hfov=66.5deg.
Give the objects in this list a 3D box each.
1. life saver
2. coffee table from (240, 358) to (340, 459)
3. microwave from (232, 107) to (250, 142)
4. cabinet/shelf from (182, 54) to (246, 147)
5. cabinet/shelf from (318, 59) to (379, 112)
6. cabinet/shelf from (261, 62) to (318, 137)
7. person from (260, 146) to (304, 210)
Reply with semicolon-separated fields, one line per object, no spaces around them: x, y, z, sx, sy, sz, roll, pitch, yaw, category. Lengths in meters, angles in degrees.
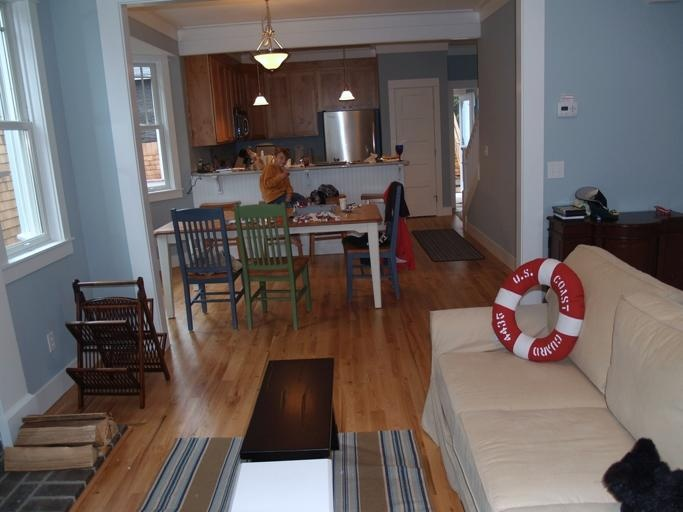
1.091;0.305;2.896;0.139;0.549;0.478;17;-8;-41;life saver
-0.247;0.774;2.582;0.366;0.201;0.737;-2;29;2;coffee table
-1.742;-2.203;8.789;0.264;0.446;0.514;1;14;9;microwave
-2.105;-2.562;8.712;0.317;1.302;2.494;9;11;-17;cabinet/shelf
0.148;-3.035;9.122;0.815;0.774;0.292;1;14;3;cabinet/shelf
-0.885;-2.794;9.114;1.167;1.696;0.584;1;18;3;cabinet/shelf
-0.758;-0.906;6.517;0.464;0.871;0.406;-4;4;34;person
